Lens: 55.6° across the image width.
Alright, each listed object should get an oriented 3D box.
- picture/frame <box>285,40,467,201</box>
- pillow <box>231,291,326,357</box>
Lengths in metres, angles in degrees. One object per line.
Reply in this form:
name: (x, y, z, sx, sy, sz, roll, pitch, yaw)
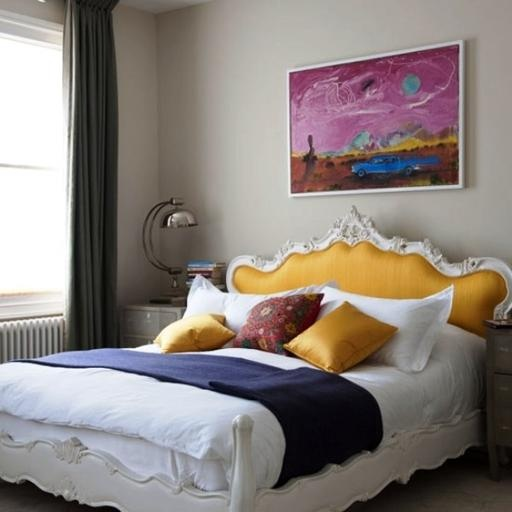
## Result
picture/frame: (0.808, -0.882, 3.136, 1.029, 0.867, 0.027, 0, 0, 36)
pillow: (0.180, 0.321, 2.737, 0.491, 0.141, 0.531, -33, 3, 35)
